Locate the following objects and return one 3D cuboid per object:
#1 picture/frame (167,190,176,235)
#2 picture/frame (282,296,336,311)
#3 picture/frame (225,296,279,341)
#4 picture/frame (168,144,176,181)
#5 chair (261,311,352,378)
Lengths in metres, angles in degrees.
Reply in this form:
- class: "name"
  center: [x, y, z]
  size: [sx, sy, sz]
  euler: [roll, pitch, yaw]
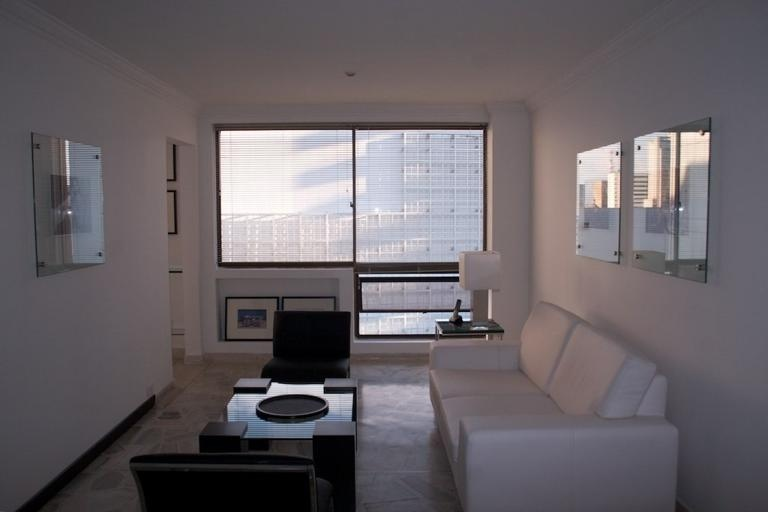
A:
- class: "picture/frame"
  center: [-2.932, -0.606, 7.889]
  size: [0.134, 0.618, 0.071]
  euler: [-1, 11, -6]
- class: "picture/frame"
  center: [-1.001, 0.639, 7.532]
  size: [0.747, 0.159, 0.197]
  euler: [0, 11, -1]
- class: "picture/frame"
  center: [-1.742, 0.845, 7.478]
  size: [0.592, 0.478, 0.037]
  euler: [0, -4, -4]
- class: "picture/frame"
  center: [-2.914, -1.287, 7.811]
  size: [0.150, 0.501, 0.106]
  euler: [-2, 11, -11]
- class: "chair"
  center: [-0.800, 0.958, 5.962]
  size: [0.858, 0.543, 0.868]
  euler: [0, 11, -1]
